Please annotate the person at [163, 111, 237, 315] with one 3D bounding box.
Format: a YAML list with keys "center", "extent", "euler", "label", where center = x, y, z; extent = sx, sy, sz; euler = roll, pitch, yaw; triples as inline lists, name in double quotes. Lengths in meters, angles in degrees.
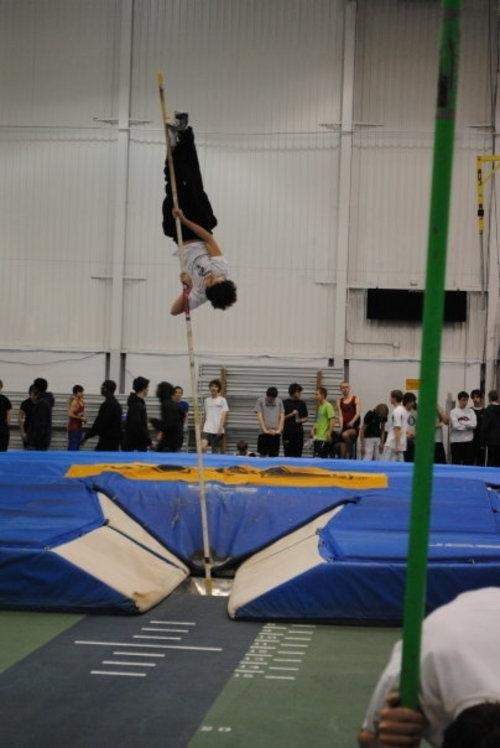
- center: [-0.276, -0.820, 6.305]
  extent: [0.376, 1.106, 0.629]
  euler: [-1, 13, -4]
  label: "person"
